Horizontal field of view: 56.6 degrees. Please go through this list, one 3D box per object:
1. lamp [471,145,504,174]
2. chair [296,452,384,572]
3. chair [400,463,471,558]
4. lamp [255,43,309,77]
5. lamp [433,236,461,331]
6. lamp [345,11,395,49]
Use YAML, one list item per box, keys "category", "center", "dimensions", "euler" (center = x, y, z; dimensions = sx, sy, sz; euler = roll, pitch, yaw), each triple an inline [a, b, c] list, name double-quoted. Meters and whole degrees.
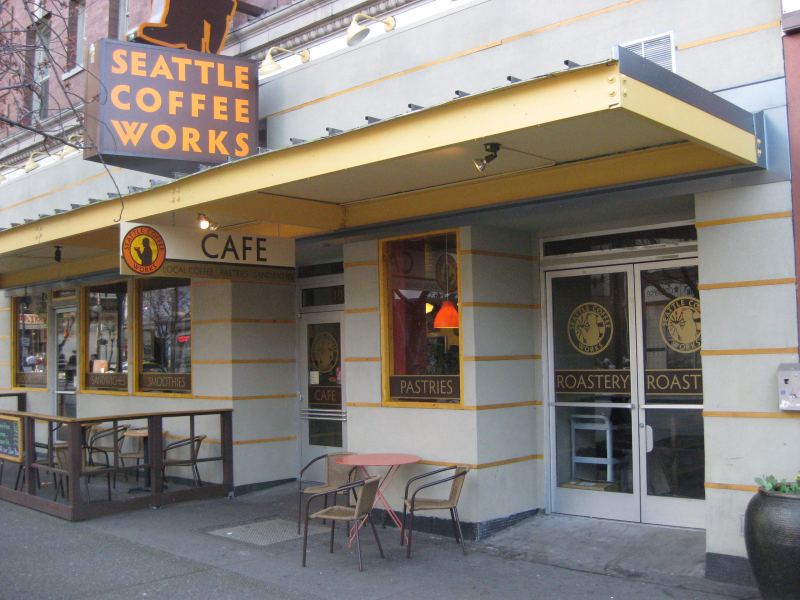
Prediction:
- category: "lamp"
  center: [0.816, -1.366, 6.997]
  dimensions: [0.231, 0.278, 0.177]
  euler: [6, 16, 13]
- category: "chair"
  center: [-0.646, 2.319, 8.290]
  dimensions: [0.972, 1.343, 1.007]
  euler: [-1, -8, 15]
- category: "chair"
  center: [0.412, 2.327, 8.402]
  dimensions: [0.823, 1.097, 0.826]
  euler: [2, -8, -6]
- category: "lamp"
  center: [-1.665, -3.589, 11.176]
  dimensions: [0.893, 0.445, 0.353]
  euler: [-1, 3, -35]
- category: "lamp"
  center: [0.560, -0.153, 8.896]
  dimensions: [0.118, 1.019, 0.384]
  euler: [-3, 2, -39]
- category: "lamp"
  center: [-0.396, -3.716, 9.999]
  dimensions: [0.817, 0.477, 0.255]
  euler: [0, 2, 44]
